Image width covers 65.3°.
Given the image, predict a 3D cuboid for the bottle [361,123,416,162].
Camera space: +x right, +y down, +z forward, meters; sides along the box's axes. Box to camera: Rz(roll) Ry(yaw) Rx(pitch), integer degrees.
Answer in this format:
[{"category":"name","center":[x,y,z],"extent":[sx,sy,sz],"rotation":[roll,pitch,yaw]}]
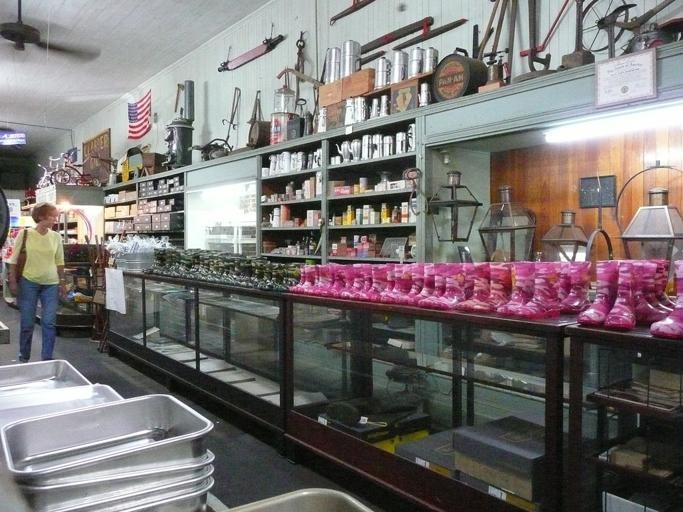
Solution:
[{"category":"bottle","center":[0.381,-0.988,4.770],"extent":[0.195,0.221,0.620],"rotation":[0,4,-33]}]

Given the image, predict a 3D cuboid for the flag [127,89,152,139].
[{"category":"flag","center":[-3.841,-2.696,10.194],"extent":[1.088,0.972,0.048],"rotation":[-10,-9,36]}]

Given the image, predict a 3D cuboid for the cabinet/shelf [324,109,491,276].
[{"category":"cabinet/shelf","center":[0.578,-0.568,4.523],"extent":[0.502,1.456,1.726],"rotation":[2,-2,-41]}]

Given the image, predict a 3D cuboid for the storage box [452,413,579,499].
[{"category":"storage box","center":[0.733,0.872,2.415],"extent":[0.358,0.141,0.344],"rotation":[0,0,-39]}]

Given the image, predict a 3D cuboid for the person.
[{"category":"person","center":[-3.266,0.309,5.764],"extent":[0.495,1.721,0.558],"rotation":[-3,2,-26]}]

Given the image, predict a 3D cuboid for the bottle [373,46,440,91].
[{"category":"bottle","center":[0.530,-1.707,4.902],"extent":[0.263,0.308,0.865],"rotation":[-1,8,-25]}]

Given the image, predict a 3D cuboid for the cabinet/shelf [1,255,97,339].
[{"category":"cabinet/shelf","center":[-3.566,0.528,6.679],"extent":[0.464,1.068,1.286],"rotation":[4,-4,-39]}]

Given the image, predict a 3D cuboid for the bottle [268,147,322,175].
[{"category":"bottle","center":[-0.527,-1.005,5.722],"extent":[0.226,0.266,0.812],"rotation":[1,3,-35]}]

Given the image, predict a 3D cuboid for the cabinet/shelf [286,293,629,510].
[{"category":"cabinet/shelf","center":[0.582,0.698,2.553],"extent":[0.427,0.691,1.409],"rotation":[-2,2,-42]}]
